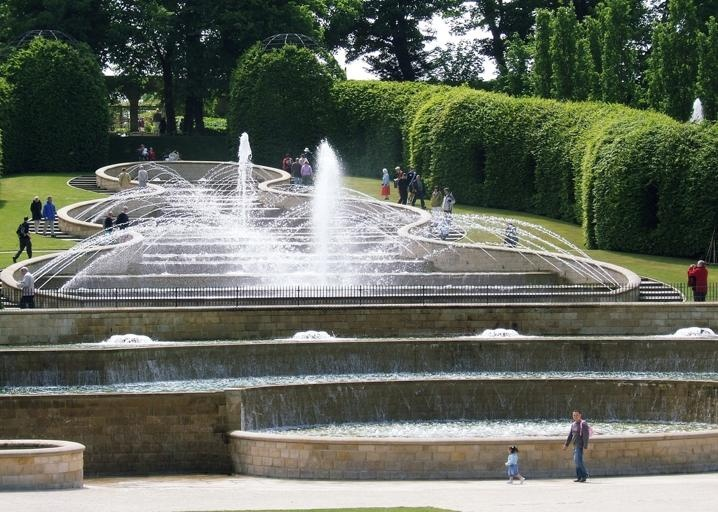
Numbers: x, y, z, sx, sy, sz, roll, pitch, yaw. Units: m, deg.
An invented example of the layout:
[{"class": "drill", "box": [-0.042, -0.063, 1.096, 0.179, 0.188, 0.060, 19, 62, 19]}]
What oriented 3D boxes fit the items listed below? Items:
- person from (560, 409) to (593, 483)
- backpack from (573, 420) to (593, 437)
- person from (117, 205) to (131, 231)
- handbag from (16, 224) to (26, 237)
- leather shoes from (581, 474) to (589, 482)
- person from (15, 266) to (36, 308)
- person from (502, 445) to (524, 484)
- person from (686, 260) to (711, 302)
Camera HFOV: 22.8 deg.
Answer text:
[{"class": "person", "box": [6.504, 5.647, 53.368, 0.718, 2.079, 0.887, 0, 6, 7]}, {"class": "backpack", "box": [6.637, 5.163, 53.414, 0.426, 0.555, 0.331, -8, 17, 37]}, {"class": "person", "box": [-9.183, -1.530, 68.782, 0.460, 0.841, 1.014, -2, 6, -8]}, {"class": "handbag", "box": [-12.606, -0.967, 66.239, 0.382, 0.459, 0.491, 0, -4, 20]}, {"class": "leather shoes", "box": [6.689, 6.602, 53.299, 0.192, 0.175, 0.500, 0, 6, 11]}, {"class": "person", "box": [-11.589, 1.073, 61.523, 0.687, 2.015, 0.744, 0, -22, -9]}, {"class": "person", "box": [4.626, 6.176, 53.357, 0.560, 1.072, 0.754, -1, 6, 4]}, {"class": "person", "box": [11.944, 0.827, 63.186, 0.669, 1.388, 1.385, 0, 6, 9]}]
